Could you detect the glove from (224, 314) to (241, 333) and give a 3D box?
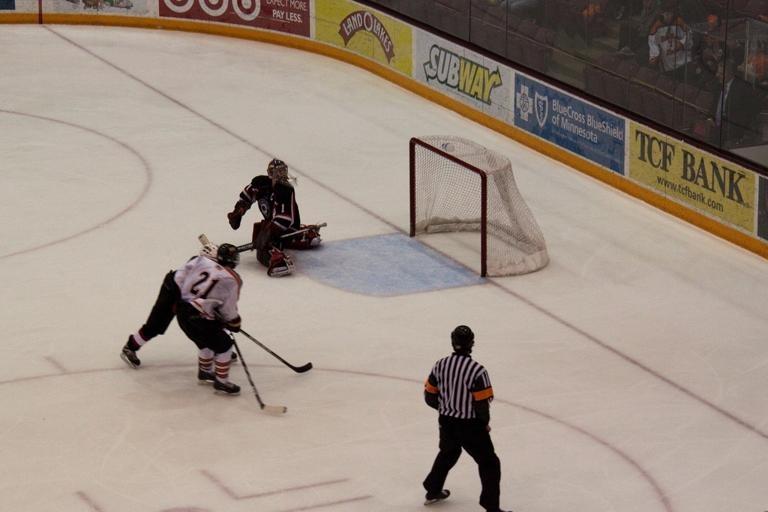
[{"bbox_3d":[-1.525,0.688,10.680,0.169,0.155,0.159,26,63,11],"label":"glove"}]

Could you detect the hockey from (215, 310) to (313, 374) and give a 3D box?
[{"bbox_3d":[-1.150,1.043,11.116,1.556,0.494,0.076,30,31,-43],"label":"hockey"}]

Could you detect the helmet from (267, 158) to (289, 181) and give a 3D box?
[{"bbox_3d":[-1.341,-1.134,13.097,0.233,0.261,0.306,-10,40,-26],"label":"helmet"}]

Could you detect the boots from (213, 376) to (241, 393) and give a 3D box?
[{"bbox_3d":[-1.630,1.326,10.800,0.290,0.109,0.130,9,17,-7],"label":"boots"}]

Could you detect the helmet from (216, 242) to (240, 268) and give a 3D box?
[{"bbox_3d":[-1.576,-0.020,10.678,0.202,0.243,0.258,5,1,17],"label":"helmet"}]

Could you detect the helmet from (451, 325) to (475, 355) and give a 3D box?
[{"bbox_3d":[0.710,0.737,9.220,0.166,0.277,0.257,1,29,8],"label":"helmet"}]

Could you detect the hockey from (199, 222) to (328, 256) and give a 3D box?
[{"bbox_3d":[-1.492,-0.213,13.041,1.024,0.188,0.247,-15,66,-31],"label":"hockey"}]

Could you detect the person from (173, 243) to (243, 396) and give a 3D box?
[{"bbox_3d":[-1.771,0.666,10.671,0.699,1.460,0.648,-9,30,-9],"label":"person"}]
